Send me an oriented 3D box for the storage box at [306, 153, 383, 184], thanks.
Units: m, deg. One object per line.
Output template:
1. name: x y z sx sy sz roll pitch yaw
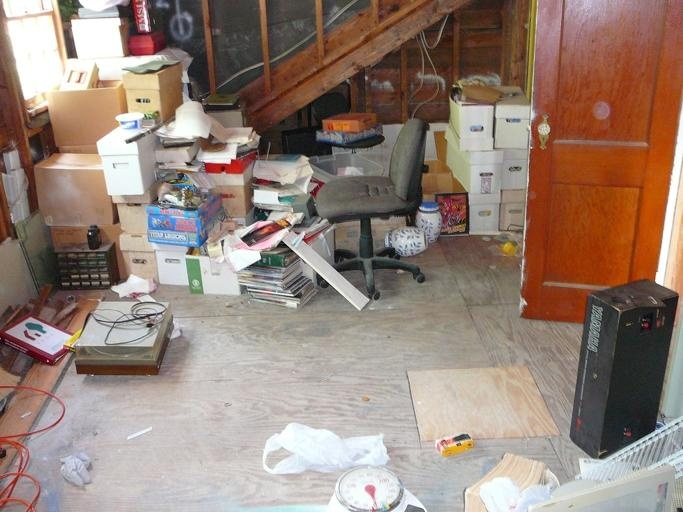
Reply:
1. storage box: -0.013 -0.792 4.715 0.522 0.157 0.388 -18 37 -30

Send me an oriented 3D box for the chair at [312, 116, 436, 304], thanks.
1. chair: 0.192 -0.335 3.518 0.727 1.095 0.669 -4 24 -2

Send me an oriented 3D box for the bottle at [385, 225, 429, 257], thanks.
1. bottle: 0.473 -0.121 3.942 0.289 0.192 0.220 -5 12 -11

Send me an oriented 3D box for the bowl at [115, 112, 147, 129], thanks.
1. bowl: -1.389 -0.902 3.555 0.157 0.064 0.145 1 33 -1

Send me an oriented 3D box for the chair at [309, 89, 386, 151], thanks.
1. chair: 0.042 -1.195 4.620 0.462 0.365 0.448 17 35 35

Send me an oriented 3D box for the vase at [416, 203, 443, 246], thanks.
1. vase: 0.675 -0.258 4.162 0.231 0.285 0.219 -4 19 -10

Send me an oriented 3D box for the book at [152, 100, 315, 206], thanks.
1. book: -0.728 -0.759 3.818 0.996 0.329 0.752 13 30 3

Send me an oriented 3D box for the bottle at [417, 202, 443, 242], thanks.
1. bottle: 0.679 -0.260 4.157 0.229 0.301 0.206 0 23 0

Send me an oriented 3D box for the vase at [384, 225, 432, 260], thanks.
1. vase: 0.486 -0.110 3.894 0.285 0.200 0.205 1 29 5

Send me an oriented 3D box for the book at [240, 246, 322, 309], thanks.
1. book: -0.409 0.158 3.420 0.376 0.160 0.458 0 27 9

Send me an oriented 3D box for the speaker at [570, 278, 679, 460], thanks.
1. speaker: 1.189 0.493 2.261 0.339 0.745 0.217 -11 25 -17

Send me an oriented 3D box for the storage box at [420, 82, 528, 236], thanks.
1. storage box: 1.184 -0.803 4.315 0.594 1.109 0.754 2 24 11
